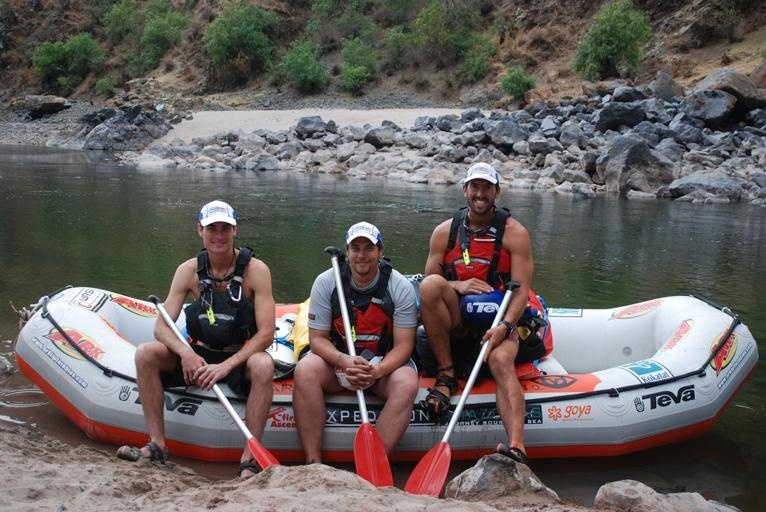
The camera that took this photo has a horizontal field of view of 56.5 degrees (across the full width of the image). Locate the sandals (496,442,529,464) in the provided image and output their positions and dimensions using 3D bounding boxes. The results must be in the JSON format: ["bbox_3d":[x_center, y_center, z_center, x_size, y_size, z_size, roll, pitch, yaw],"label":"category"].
[{"bbox_3d":[1.161,1.791,6.485,0.134,0.352,0.142,-24,36,49],"label":"sandals"}]

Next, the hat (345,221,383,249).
[{"bbox_3d":[-0.168,-0.227,6.891,0.255,0.186,0.353,-3,-17,7],"label":"hat"}]

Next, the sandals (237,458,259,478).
[{"bbox_3d":[-1.211,1.933,6.442,0.199,0.136,0.199,-6,15,-28],"label":"sandals"}]

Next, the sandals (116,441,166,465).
[{"bbox_3d":[-2.157,1.812,6.555,0.476,0.196,0.183,20,-15,-32],"label":"sandals"}]

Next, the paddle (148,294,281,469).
[{"bbox_3d":[-1.436,1.138,6.164,0.347,2.429,0.162,4,42,25],"label":"paddle"}]

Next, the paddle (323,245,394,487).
[{"bbox_3d":[-0.302,0.948,6.857,0.378,2.442,0.192,-6,-31,-15],"label":"paddle"}]

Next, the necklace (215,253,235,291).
[{"bbox_3d":[-1.519,0.140,6.847,0.231,0.299,0.077,-6,-11,7],"label":"necklace"}]
